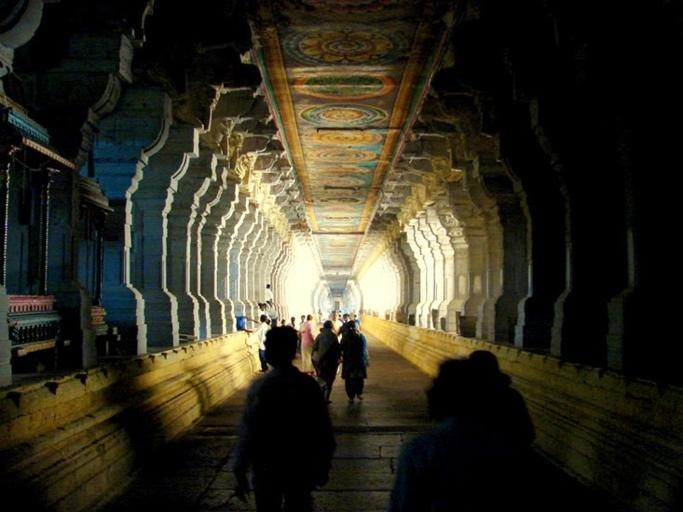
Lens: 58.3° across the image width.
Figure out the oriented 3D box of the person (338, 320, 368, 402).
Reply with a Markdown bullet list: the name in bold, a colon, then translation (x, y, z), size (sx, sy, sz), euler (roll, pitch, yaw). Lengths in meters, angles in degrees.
- **person**: translation (0.304, 2.019, 11.825), size (0.466, 1.492, 0.796), euler (1, -6, -6)
